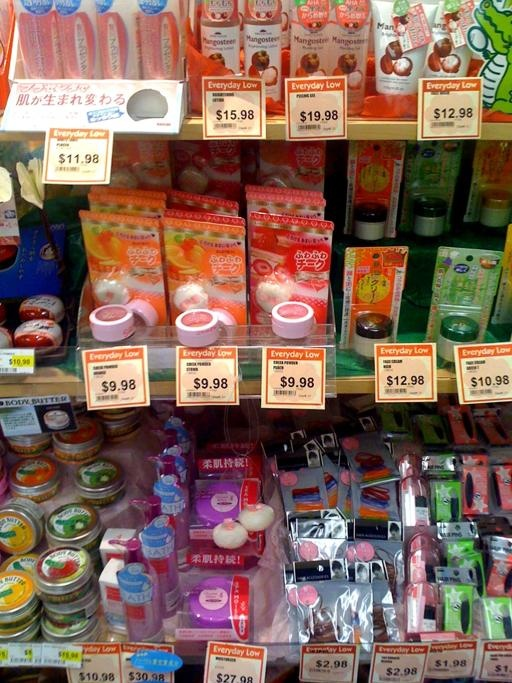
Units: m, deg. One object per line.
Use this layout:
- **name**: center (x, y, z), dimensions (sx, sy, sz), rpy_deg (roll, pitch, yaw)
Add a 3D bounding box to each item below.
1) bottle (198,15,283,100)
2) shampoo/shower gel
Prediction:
- **bottle**: center (-0.016, -0.577, 1.018), dimensions (0.149, 0.166, 0.179), rpy_deg (5, 27, 18)
- **shampoo/shower gel**: center (-0.280, 0.439, 1.315), dimensions (0.206, 0.343, 0.598), rpy_deg (-4, 25, -1)
